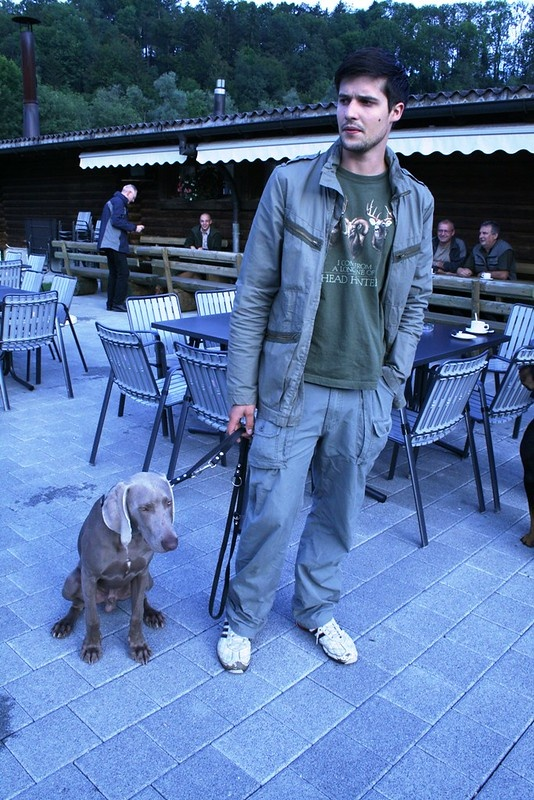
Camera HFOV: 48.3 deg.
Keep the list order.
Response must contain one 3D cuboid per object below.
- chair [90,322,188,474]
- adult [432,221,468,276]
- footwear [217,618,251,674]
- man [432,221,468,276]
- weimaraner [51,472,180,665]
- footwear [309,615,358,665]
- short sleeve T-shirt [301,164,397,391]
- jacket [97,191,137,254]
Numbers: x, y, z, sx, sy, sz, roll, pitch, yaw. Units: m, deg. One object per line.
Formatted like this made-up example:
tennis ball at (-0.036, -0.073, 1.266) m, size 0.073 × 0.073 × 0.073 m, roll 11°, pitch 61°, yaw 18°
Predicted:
chair at (-0.874, 0.018, 4.141) m, size 0.598 × 0.981 × 0.720 m, roll 32°, pitch 39°, yaw 31°
adult at (2.147, -1.807, 7.326) m, size 0.558 × 0.714 × 0.417 m, roll 7°, pitch 19°, yaw 21°
footwear at (-0.115, 0.847, 2.067) m, size 0.070 × 0.072 × 0.178 m, roll 12°, pitch 13°, yaw -20°
man at (2.158, -1.806, 7.324) m, size 0.547 × 0.729 × 0.421 m, roll 9°, pitch 19°, yaw 25°
weimaraner at (-0.465, 0.507, 1.935) m, size 0.331 × 0.663 × 0.490 m, roll -7°, pitch 27°, yaw -37°
footwear at (0.235, 0.847, 2.107) m, size 0.086 × 0.066 × 0.162 m, roll -13°, pitch 24°, yaw -37°
short sleeve T-shirt at (0.238, -0.336, 1.710) m, size 0.232 × 0.607 × 0.066 m, roll -3°, pitch 13°, yaw -25°
jacket at (-2.288, -2.684, 9.053) m, size 0.557 × 0.917 × 0.418 m, roll -1°, pitch 12°, yaw -16°
